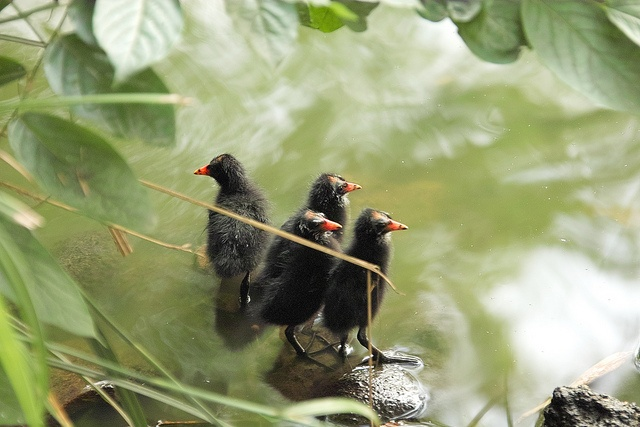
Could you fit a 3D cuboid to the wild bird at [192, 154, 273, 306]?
[{"bbox_3d":[-0.234,0.019,2.118,0.181,0.473,0.205,4,-40,-14],"label":"wild bird"}]
